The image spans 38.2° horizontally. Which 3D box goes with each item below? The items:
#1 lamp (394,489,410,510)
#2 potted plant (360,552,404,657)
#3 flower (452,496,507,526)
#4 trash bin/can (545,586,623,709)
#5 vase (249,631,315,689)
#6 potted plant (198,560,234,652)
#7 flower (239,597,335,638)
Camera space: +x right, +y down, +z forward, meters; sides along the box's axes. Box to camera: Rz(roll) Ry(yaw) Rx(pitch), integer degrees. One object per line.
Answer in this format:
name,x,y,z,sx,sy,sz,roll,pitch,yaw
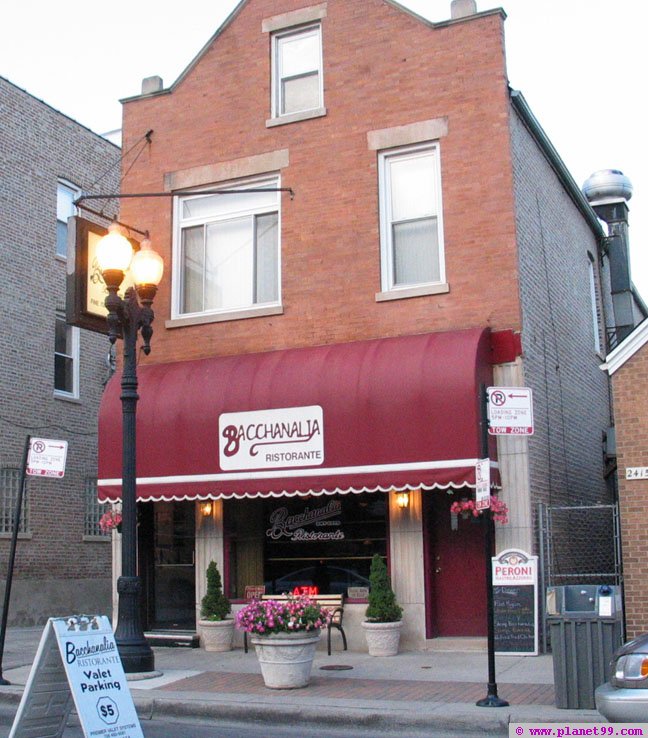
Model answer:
lamp,1.158,1.934,13.871,0.259,0.215,0.256,3,-33,4
potted plant,0.829,3.343,13.352,0.562,1.392,0.678,-4,-11,5
flower,2.107,1.905,12.995,0.651,0.518,0.929,2,-3,-3
trash bin/can,2.498,2.611,8.891,0.699,1.102,0.520,-6,-12,15
vase,-0.432,3.268,10.540,0.735,0.601,0.347,-3,-11,-1
potted plant,-1.687,3.635,14.498,0.531,1.357,0.510,3,-9,-13
flower,-0.484,2.824,10.663,1.022,0.396,0.479,-3,-12,-4
